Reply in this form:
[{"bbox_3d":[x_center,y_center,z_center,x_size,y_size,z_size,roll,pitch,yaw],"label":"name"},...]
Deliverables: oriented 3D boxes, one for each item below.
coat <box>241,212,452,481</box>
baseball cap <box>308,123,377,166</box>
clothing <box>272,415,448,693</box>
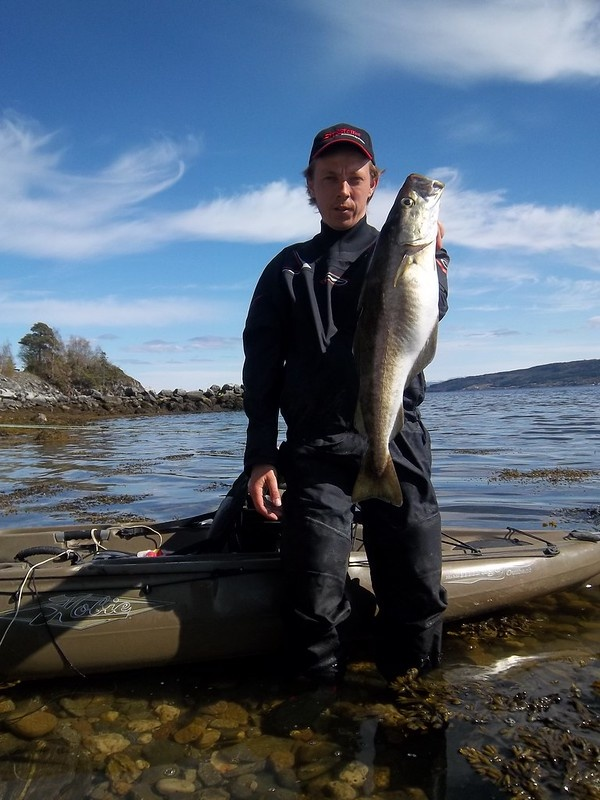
[{"bbox_3d":[0.112,-0.187,3.131,1.204,1.304,0.542,-8,7,-19],"label":"coat"},{"bbox_3d":[0.214,-1.309,3.207,0.309,0.197,0.180,-1,0,4],"label":"baseball cap"},{"bbox_3d":[0.348,0.792,3.249,0.835,1.280,0.368,1,-9,-5],"label":"clothing"}]
